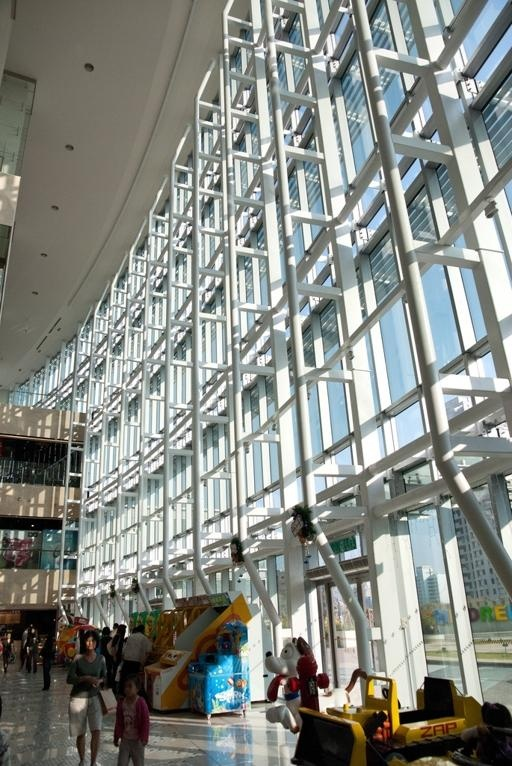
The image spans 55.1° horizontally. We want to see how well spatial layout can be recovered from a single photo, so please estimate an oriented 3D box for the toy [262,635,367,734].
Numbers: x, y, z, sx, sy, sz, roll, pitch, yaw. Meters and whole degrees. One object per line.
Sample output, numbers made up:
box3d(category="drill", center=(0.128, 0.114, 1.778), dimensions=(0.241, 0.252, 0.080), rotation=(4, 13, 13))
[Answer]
box3d(category="toy", center=(0.607, 3.040, 4.911), dimensions=(0.999, 0.889, 0.624), rotation=(10, -26, -8))
